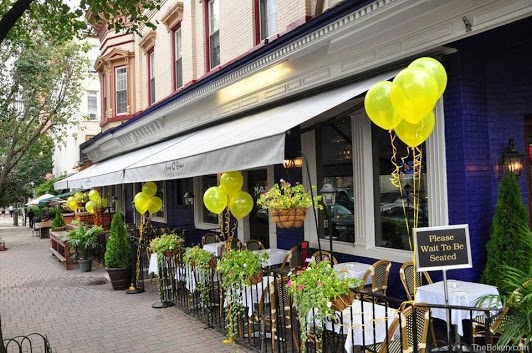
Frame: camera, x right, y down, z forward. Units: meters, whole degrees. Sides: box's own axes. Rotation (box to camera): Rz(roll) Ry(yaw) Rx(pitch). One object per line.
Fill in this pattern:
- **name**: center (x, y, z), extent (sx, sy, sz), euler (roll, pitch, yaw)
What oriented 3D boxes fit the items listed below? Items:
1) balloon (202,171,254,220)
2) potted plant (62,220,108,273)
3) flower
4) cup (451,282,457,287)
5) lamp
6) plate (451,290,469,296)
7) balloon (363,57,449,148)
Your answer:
- **balloon**: center (-0.898, 0.409, 9.836), extent (0.986, 1.102, 0.789), euler (2, -7, -20)
- **potted plant**: center (-6.857, 2.668, 16.221), extent (1.137, 1.760, 1.690), euler (1, -7, -11)
- **flower**: center (0.578, 0.479, 9.993), extent (0.869, 0.623, 1.284), euler (-1, -6, 16)
- **cup**: center (3.568, 2.062, 8.079), extent (0.103, 0.094, 0.083), euler (2, -6, 0)
- **lamp**: center (1.025, 0.678, 9.731), extent (0.829, 2.507, 0.634), euler (1, 13, -1)
- **plate**: center (3.545, 2.135, 7.788), extent (0.294, 0.089, 0.394), euler (-4, -8, 29)
- **balloon**: center (2.404, -1.289, 7.191), extent (0.940, 1.420, 1.039), euler (5, -8, -36)
